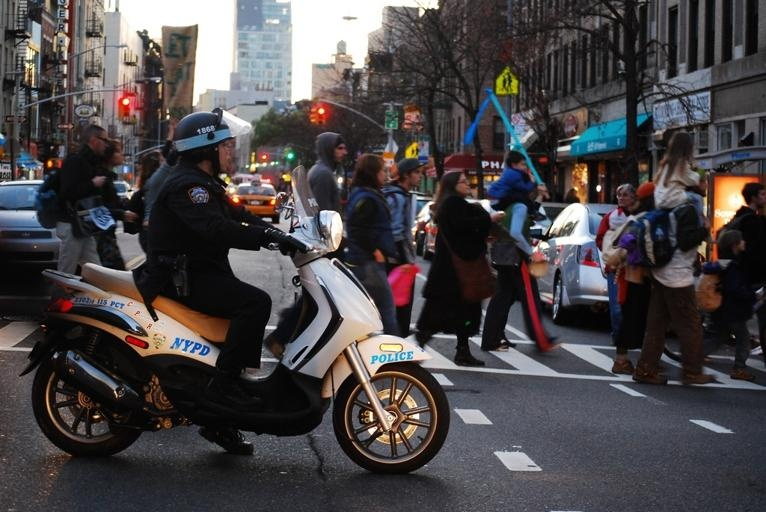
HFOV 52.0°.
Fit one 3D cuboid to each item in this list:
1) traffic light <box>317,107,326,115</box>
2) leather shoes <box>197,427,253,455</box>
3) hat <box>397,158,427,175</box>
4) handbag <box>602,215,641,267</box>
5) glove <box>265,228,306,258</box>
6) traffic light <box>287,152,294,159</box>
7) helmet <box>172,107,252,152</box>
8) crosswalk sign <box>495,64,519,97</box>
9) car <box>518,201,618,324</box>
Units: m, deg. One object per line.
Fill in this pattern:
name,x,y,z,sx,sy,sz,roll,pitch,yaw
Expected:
traffic light,-2.740,-6.582,35.584,0.298,0.300,0.071,23,8,9
leather shoes,-1.196,1.409,5.977,0.370,0.251,0.122,17,29,-32
hat,0.355,-1.079,9.621,0.280,0.136,0.198,-16,11,-12
handbag,2.788,-0.288,9.411,0.164,0.451,0.346,-42,31,-18
glove,-0.651,-0.080,5.450,0.268,0.099,0.163,18,12,-44
traffic light,-4.824,-5.305,41.419,0.403,0.407,0.094,2,-1,-8
helmet,-1.301,-0.979,5.971,0.633,0.294,0.441,-12,14,-13
crosswalk sign,4.536,-6.413,28.522,0.669,1.176,2.330,3,5,12
car,3.059,0.039,13.059,1.141,1.091,2.557,-1,9,-12
